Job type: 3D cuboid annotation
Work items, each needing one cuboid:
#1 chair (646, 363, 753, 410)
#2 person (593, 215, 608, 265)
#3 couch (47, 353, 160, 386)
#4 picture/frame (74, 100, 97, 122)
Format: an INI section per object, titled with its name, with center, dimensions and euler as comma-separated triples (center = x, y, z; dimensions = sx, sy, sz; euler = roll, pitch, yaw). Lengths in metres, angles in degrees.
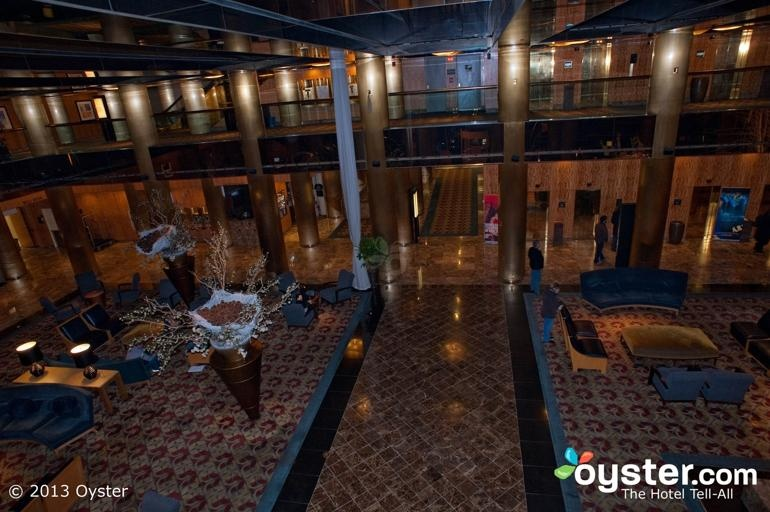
[chair]
center = 6.531, 2.444, 9.209
dimensions = 1.782, 0.972, 0.877
euler = -1, 38, 12
[person]
center = 7.304, -0.653, 14.875
dimensions = 0.428, 1.501, 1.419
euler = 9, 27, 25
[couch]
center = -6.774, 2.757, 10.586
dimensions = 1.524, 0.447, 0.441
euler = 4, 36, 1
[picture/frame]
center = -12.269, -6.041, 17.973
dimensions = 0.767, 0.724, 0.315
euler = 9, 28, 25
